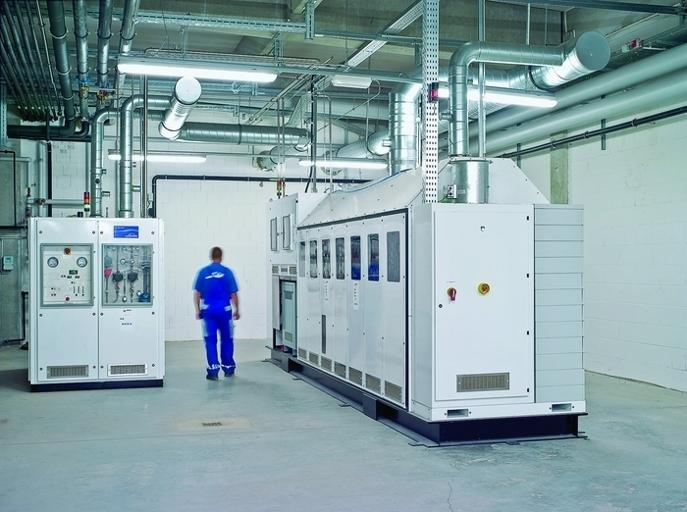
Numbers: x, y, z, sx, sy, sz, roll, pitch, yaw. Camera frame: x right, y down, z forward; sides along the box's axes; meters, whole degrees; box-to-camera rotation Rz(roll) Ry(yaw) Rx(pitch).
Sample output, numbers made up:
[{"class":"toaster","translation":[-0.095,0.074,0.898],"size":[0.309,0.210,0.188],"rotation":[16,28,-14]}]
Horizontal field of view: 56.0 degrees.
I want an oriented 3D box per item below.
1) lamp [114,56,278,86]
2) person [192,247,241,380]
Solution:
[{"class":"lamp","translation":[-1.825,-2.349,8.081],"size":[1.920,0.186,0.481],"rotation":[-1,4,-13]},{"class":"person","translation":[-2.073,1.074,10.564],"size":[0.701,1.894,0.340],"rotation":[-1,4,-14]}]
